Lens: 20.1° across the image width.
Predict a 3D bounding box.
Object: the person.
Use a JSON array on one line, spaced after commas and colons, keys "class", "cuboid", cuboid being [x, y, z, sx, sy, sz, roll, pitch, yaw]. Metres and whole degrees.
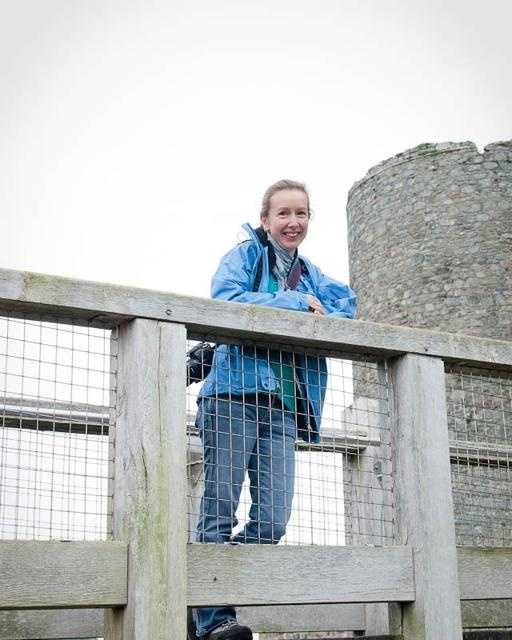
[{"class": "person", "cuboid": [0.065, 0.384, 7.505, 0.981, 2.508, 0.672, 4, -14, -19]}]
